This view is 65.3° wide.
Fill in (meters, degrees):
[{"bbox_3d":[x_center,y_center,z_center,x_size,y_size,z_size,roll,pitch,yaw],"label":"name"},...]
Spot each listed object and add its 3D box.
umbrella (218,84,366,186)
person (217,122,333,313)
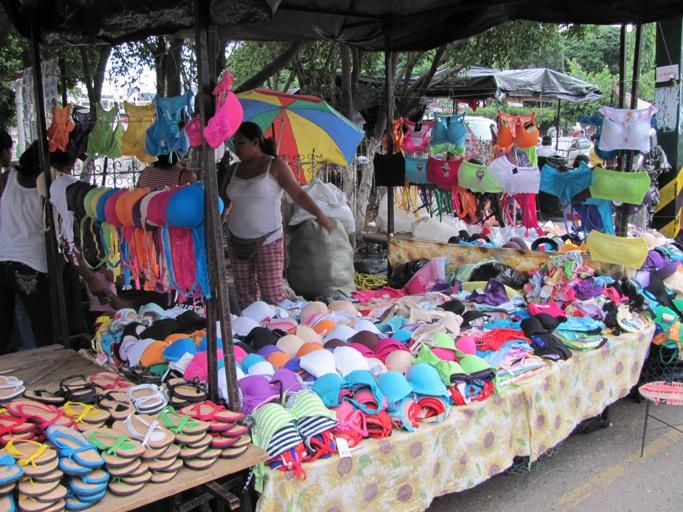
[{"bbox_3d":[-0.362,-1.191,5.114,0.869,0.905,0.843,8,36,-2],"label":"umbrella"},{"bbox_3d":[-0.570,-0.276,3.908,0.723,1.365,0.246,1,8,31],"label":"person"}]
